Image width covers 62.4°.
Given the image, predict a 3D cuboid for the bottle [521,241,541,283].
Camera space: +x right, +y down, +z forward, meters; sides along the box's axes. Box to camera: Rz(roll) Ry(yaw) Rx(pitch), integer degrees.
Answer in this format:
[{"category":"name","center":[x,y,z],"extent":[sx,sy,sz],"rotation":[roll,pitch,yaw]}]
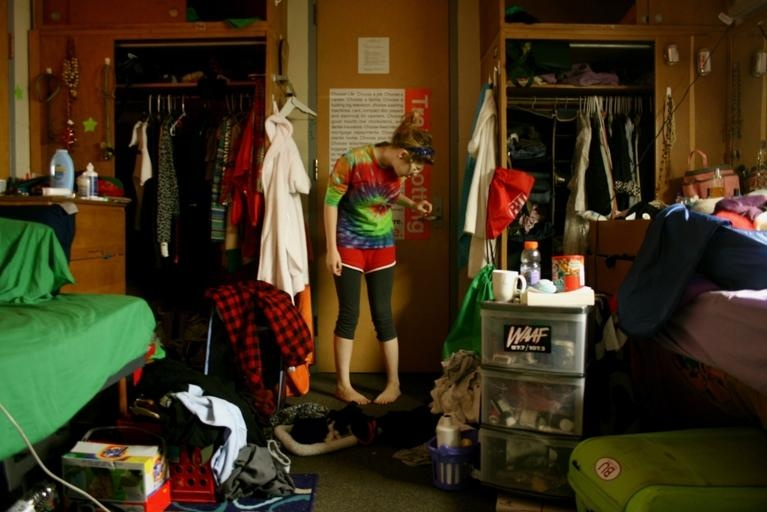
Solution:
[{"category":"bottle","center":[0.770,0.044,3.315],"extent":[0.092,0.224,0.314],"rotation":[4,7,11]}]

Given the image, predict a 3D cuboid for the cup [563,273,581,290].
[{"category":"cup","center":[0.944,0.128,3.174],"extent":[0.074,0.083,0.077],"rotation":[0,1,0]}]

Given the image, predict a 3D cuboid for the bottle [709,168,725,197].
[{"category":"bottle","center":[2.023,-0.443,3.824],"extent":[0.073,0.171,0.112],"rotation":[4,6,8]}]

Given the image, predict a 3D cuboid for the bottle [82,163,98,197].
[{"category":"bottle","center":[-1.847,-0.470,3.967],"extent":[0.088,0.199,0.198],"rotation":[0,7,-28]}]

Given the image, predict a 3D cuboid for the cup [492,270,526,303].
[{"category":"cup","center":[0.637,0.162,3.229],"extent":[0.178,0.141,0.114],"rotation":[4,-13,-2]}]

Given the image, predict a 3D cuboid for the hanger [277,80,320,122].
[{"category":"hanger","center":[-0.684,-1.147,4.582],"extent":[0.275,0.309,0.311],"rotation":[10,29,37]}]

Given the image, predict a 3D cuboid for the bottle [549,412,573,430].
[{"category":"bottle","center":[0.858,0.799,3.034],"extent":[0.071,0.115,0.080],"rotation":[4,46,4]}]

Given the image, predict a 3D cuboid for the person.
[{"category":"person","center":[-0.067,0.009,4.191],"extent":[0.683,1.915,0.481],"rotation":[3,5,-4]}]
